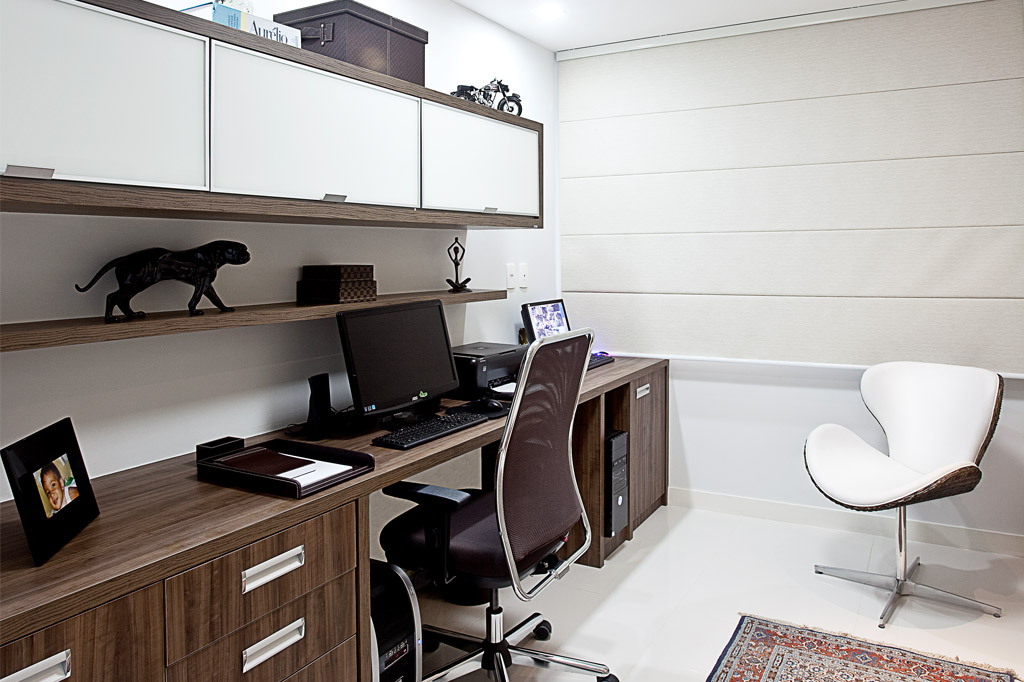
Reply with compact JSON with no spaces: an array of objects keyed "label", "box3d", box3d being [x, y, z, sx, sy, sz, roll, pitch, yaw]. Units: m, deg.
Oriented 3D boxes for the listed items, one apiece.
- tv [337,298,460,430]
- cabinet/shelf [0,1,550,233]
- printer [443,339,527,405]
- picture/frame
[{"label":"tv","box3d":[-0.516,0.108,2.856,0.143,0.430,0.501,-11,1,38]},{"label":"cabinet/shelf","box3d":[-0.707,-0.809,2.675,0.249,0.785,2.306,11,18,42]},{"label":"printer","box3d":[-0.162,0.136,3.337,0.252,0.192,0.365,1,3,30]},{"label":"picture/frame","box3d":[-1.364,0.452,1.923,0.033,0.354,0.303,-6,12,15]}]
